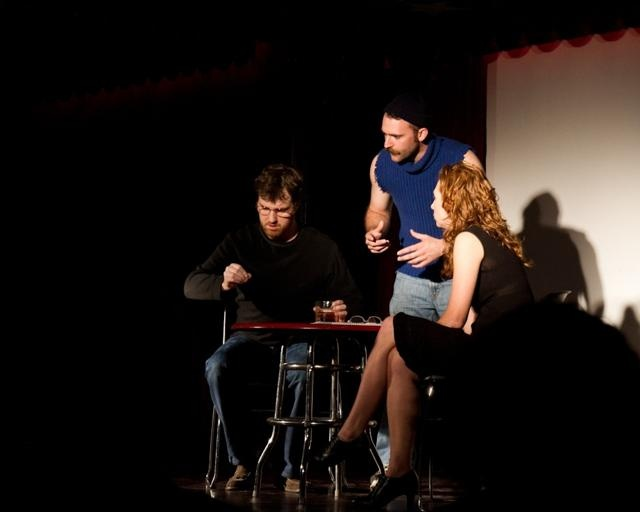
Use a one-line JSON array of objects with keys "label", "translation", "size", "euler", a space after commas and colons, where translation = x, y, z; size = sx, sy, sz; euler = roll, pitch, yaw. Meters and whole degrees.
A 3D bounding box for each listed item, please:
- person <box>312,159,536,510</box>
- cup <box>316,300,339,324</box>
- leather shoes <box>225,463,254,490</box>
[{"label": "person", "translation": [0.490, 0.345, 3.026], "size": [0.876, 1.518, 0.450], "euler": [-1, 0, -1]}, {"label": "cup", "translation": [0.034, 0.308, 3.725], "size": [0.098, 0.115, 0.097], "euler": [0, -2, 0]}, {"label": "leather shoes", "translation": [-0.448, 1.230, 3.760], "size": [0.071, 0.101, 0.224], "euler": [-5, -19, 16]}]
